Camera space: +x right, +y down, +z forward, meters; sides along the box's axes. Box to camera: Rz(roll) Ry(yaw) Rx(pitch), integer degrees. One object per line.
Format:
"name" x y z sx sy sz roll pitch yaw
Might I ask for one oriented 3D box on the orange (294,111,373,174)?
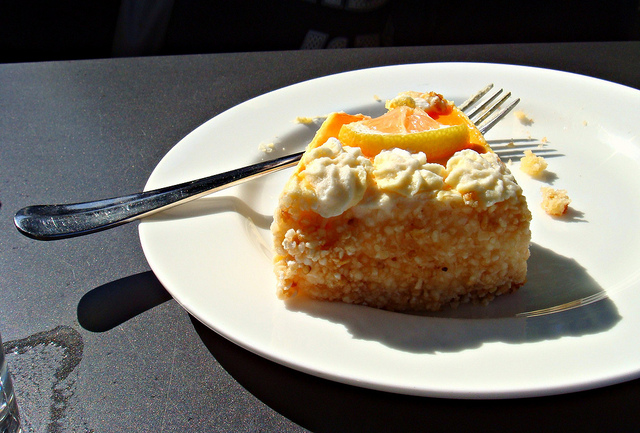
"orange" 0.016 -0.138 1.132 0.080 0.061 0.231 3 40 45
